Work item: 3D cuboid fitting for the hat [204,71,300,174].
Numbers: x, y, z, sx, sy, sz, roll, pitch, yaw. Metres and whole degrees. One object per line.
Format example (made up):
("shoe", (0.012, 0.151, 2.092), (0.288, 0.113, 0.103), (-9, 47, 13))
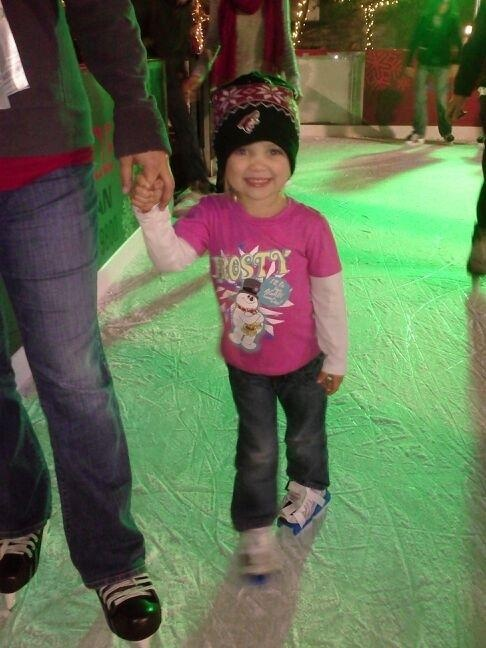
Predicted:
("hat", (0.026, -0.469, 1.165), (0.205, 0.215, 0.174), (-4, 24, 4))

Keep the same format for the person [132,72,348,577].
("person", (-0.023, 0.030, 1.223), (0.534, 1.137, 0.375), (-5, 16, -10))

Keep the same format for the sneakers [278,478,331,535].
("sneakers", (0.172, 0.503, 1.390), (0.052, 0.136, 0.110), (14, 9, 13))
